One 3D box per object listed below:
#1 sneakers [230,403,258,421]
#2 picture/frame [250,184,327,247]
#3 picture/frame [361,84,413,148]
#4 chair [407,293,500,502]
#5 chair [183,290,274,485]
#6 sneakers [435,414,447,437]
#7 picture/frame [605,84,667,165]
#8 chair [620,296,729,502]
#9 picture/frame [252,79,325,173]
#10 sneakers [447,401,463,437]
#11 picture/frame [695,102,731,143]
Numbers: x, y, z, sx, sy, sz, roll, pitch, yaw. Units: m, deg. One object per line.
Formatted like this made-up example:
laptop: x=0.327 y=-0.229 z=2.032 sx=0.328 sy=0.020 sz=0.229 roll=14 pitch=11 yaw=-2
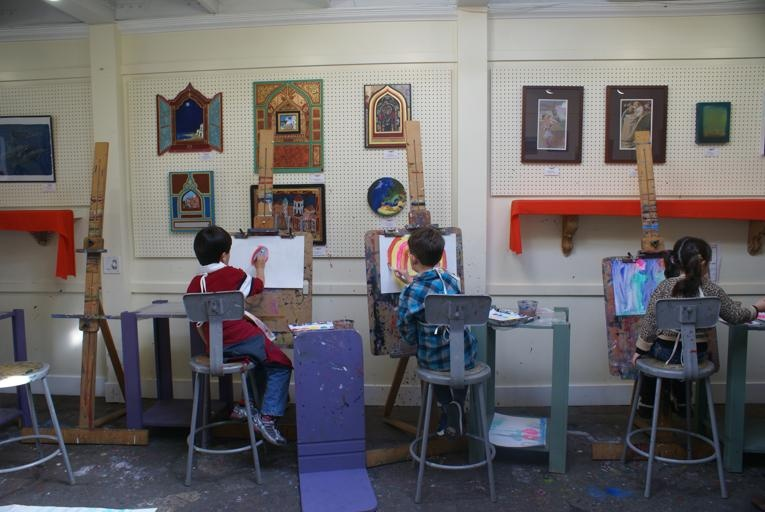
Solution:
sneakers: x=-1.068 y=1.205 z=4.925 sx=0.093 sy=0.124 sz=0.264 roll=1 pitch=2 yaw=-3
picture/frame: x=-0.784 y=-0.348 z=5.582 sx=0.541 sy=0.475 sz=0.037 roll=0 pitch=4 yaw=4
picture/frame: x=0.058 y=-1.266 z=5.690 sx=0.600 sy=0.790 sz=0.058 roll=0 pitch=2 yaw=0
chair: x=0.488 y=1.006 z=4.755 sx=0.657 sy=1.536 sz=0.577 roll=-1 pitch=8 yaw=7
chair: x=-1.260 y=0.964 z=4.987 sx=0.594 sy=1.471 sz=0.799 roll=-4 pitch=8 yaw=-14
sneakers: x=0.447 y=1.282 z=4.813 sx=0.062 sy=0.179 sz=0.130 roll=7 pitch=7 yaw=-4
picture/frame: x=2.223 y=-1.197 z=5.650 sx=0.725 sy=0.941 sz=0.039 roll=0 pitch=0 yaw=0
chair: x=2.236 y=0.998 z=4.924 sx=0.781 sy=1.479 sz=0.855 roll=-2 pitch=8 yaw=4
picture/frame: x=-0.808 y=-1.196 z=5.719 sx=0.856 sy=1.119 sz=0.045 roll=0 pitch=7 yaw=2
sneakers: x=0.540 y=1.208 z=4.745 sx=0.094 sy=0.272 sz=0.104 roll=-3 pitch=-5 yaw=11
picture/frame: x=2.904 y=-1.200 z=5.667 sx=0.333 sy=0.406 sz=0.056 roll=0 pitch=6 yaw=1
